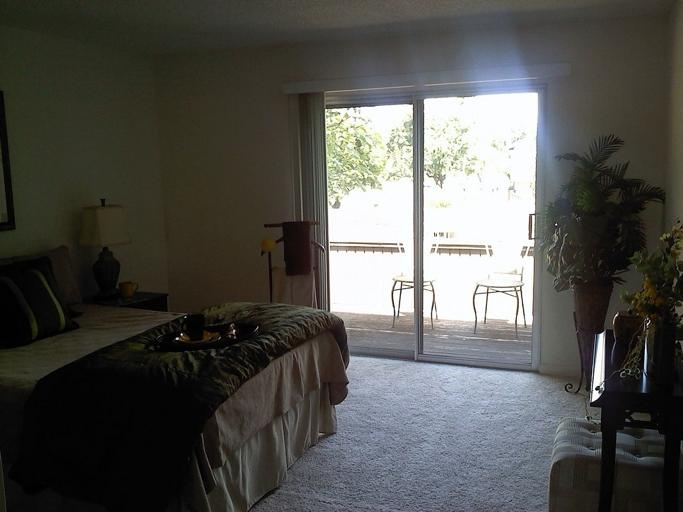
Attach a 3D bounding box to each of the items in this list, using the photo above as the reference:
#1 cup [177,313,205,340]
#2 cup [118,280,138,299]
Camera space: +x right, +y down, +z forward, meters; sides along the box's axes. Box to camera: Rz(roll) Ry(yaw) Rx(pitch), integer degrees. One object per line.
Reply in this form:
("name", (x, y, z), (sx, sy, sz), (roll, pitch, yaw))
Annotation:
("cup", (-0.927, 0.426, 3.273), (0.145, 0.109, 0.128), (-2, 8, -26))
("cup", (-1.960, 0.302, 4.951), (0.137, 0.176, 0.225), (-3, -5, 30))
